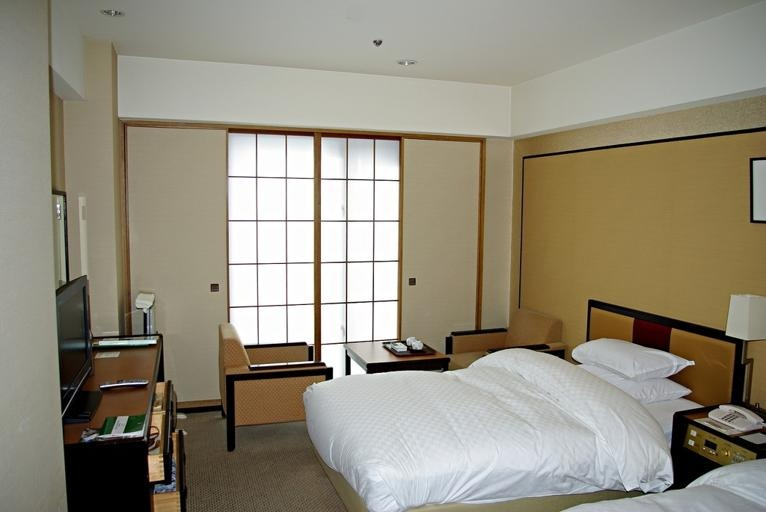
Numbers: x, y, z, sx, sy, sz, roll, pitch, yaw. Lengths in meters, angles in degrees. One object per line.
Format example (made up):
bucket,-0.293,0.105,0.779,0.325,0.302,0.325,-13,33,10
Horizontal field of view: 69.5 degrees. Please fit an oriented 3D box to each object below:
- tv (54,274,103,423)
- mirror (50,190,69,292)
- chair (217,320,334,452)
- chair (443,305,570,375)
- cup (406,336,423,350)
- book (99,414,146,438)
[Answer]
tv,-2.189,0.688,3.973,0.234,0.665,0.895,-2,9,-16
mirror,-2.715,-0.149,4.668,0.068,0.793,0.464,0,1,-27
chair,-1.109,1.295,5.725,1.106,1.147,0.995,-2,4,-18
chair,1.420,0.996,6.433,0.890,0.924,0.800,0,5,-18
cup,0.354,0.968,6.120,0.115,0.072,0.153,23,-7,-11
book,-1.711,1.137,3.655,0.282,0.078,0.274,0,0,-18
